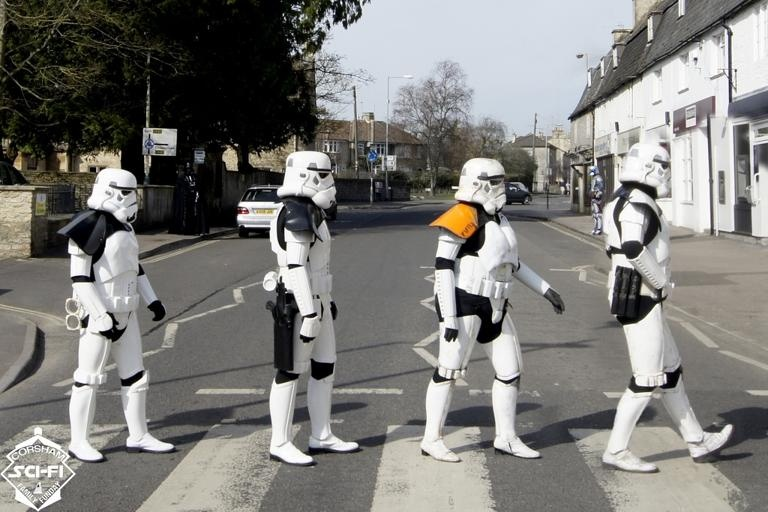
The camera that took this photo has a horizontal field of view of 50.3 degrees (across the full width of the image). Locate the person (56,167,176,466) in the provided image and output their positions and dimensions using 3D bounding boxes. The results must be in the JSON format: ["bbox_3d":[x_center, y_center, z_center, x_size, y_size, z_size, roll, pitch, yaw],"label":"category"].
[{"bbox_3d":[-2.891,0.611,8.765,0.987,3.034,0.730,-3,9,-22],"label":"person"}]

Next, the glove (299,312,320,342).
[{"bbox_3d":[-0.766,0.747,8.508,0.212,0.311,0.158,-1,8,-9],"label":"glove"}]

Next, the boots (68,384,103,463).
[{"bbox_3d":[-3.157,1.768,8.708,0.335,0.779,0.346,-4,9,-24],"label":"boots"}]

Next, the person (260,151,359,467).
[{"bbox_3d":[-0.836,0.526,8.740,0.812,3.232,0.767,0,8,-4],"label":"person"}]

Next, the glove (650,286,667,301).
[{"bbox_3d":[2.809,0.396,8.483,0.109,0.160,0.064,9,52,0],"label":"glove"}]

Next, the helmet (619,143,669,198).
[{"bbox_3d":[2.774,-0.891,8.684,0.491,0.577,0.445,8,-1,0],"label":"helmet"}]

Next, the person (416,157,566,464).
[{"bbox_3d":[1.041,0.557,8.707,1.262,3.122,0.973,-7,11,-41],"label":"person"}]

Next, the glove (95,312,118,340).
[{"bbox_3d":[-2.894,0.747,8.659,0.220,0.319,0.114,-3,9,-21],"label":"glove"}]

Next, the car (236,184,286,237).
[{"bbox_3d":[-4.381,-1.341,28.920,1.758,1.890,4.178,1,8,2],"label":"car"}]
